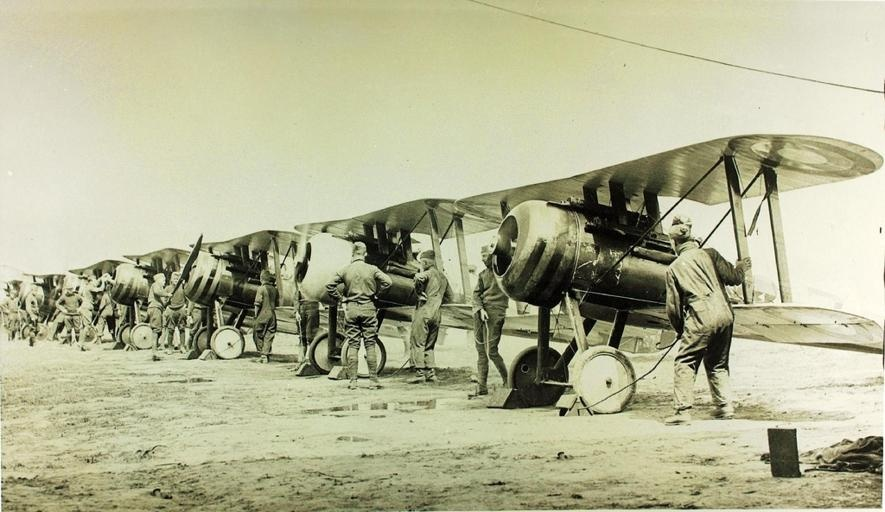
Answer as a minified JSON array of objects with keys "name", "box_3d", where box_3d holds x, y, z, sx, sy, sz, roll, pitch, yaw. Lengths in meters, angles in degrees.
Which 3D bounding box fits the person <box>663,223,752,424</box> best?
[{"name":"person","box_3d":[2.739,0.691,8.398,0.852,2.132,0.503,3,-12,-6]}]

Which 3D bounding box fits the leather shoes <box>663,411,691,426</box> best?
[{"name":"leather shoes","box_3d":[2.490,1.726,8.472,0.267,0.157,0.130,3,-6,3]}]

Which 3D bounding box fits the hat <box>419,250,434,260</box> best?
[{"name":"hat","box_3d":[-0.168,-0.003,9.059,0.101,0.063,0.133,18,-15,-30]}]

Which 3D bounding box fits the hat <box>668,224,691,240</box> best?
[{"name":"hat","box_3d":[2.486,-0.245,8.339,0.201,0.129,0.151,-4,6,-26]}]

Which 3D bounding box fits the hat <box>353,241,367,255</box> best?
[{"name":"hat","box_3d":[-0.932,-0.080,8.989,0.125,0.112,0.155,3,-9,-5]}]

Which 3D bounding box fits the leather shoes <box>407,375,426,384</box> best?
[{"name":"leather shoes","box_3d":[-0.288,1.388,8.918,0.210,0.082,0.084,3,-9,10]}]
